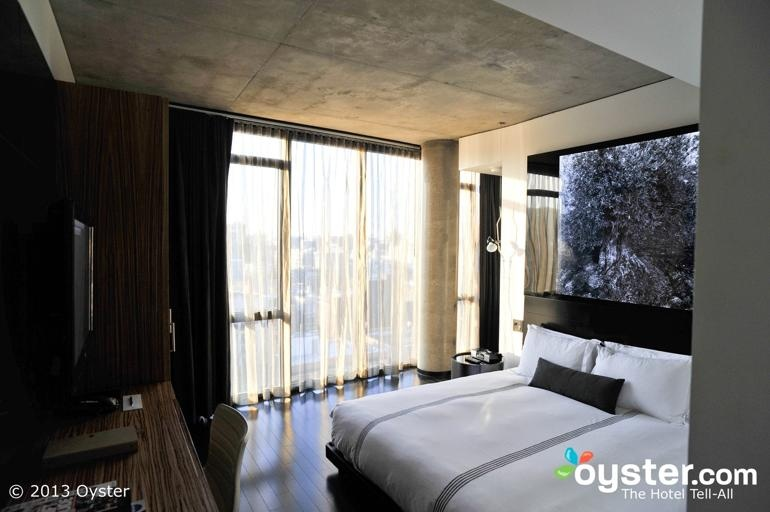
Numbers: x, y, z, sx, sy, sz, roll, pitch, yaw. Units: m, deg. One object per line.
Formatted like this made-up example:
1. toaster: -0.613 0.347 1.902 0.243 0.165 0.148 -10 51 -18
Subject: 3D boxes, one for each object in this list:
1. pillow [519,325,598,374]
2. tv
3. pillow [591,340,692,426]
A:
1. pillow: 1.572 0.847 4.399 0.133 0.300 0.417 24 -6 -33
2. tv: -1.730 0.269 2.691 0.413 1.150 1.170 -3 7 -26
3. pillow: 1.946 0.979 3.704 0.284 0.619 0.844 14 -7 -32
